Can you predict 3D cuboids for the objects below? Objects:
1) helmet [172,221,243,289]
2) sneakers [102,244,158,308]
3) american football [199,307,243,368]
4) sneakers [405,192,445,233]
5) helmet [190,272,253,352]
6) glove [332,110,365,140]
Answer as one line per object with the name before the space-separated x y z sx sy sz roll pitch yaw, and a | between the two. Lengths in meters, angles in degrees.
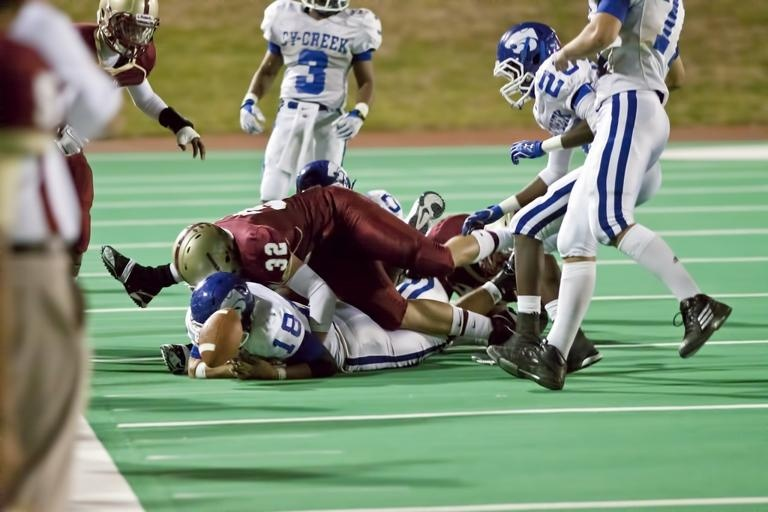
helmet | -0.823 -0.004 4.419 0.318 0.298 0.253 -8 -1 -7
sneakers | -1.505 0.133 5.525 0.132 0.391 0.180 -47 15 3
american football | -0.726 0.324 4.159 0.194 0.166 0.259 18 33 -2
sneakers | 0.220 -0.251 5.167 0.280 0.153 0.100 -52 23 -21
helmet | -0.720 0.246 4.145 0.190 0.257 0.255 17 63 44
glove | -0.230 -0.841 6.036 0.195 0.189 0.223 -2 12 -10
